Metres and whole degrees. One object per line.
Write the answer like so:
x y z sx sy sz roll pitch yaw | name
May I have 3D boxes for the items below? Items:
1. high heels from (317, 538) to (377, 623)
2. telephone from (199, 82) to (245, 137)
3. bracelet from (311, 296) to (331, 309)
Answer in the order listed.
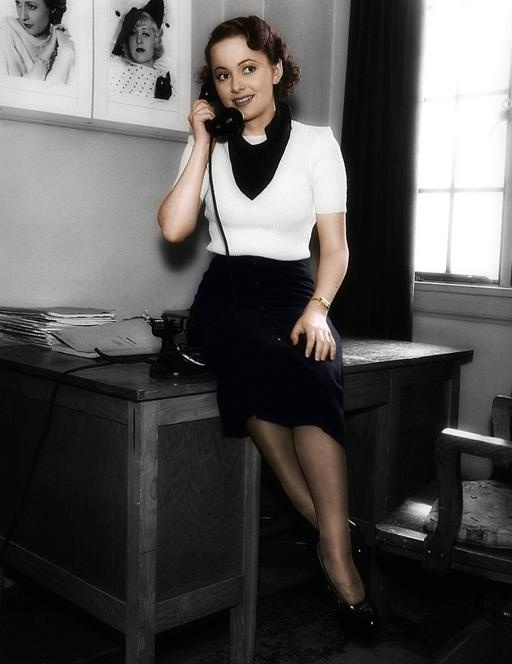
0.179 0.510 1.228 0.067 0.236 0.053 -34 -20 35 | high heels
-0.082 -0.494 1.313 0.085 0.075 0.164 -4 -2 16 | telephone
0.146 -0.066 1.284 0.031 0.013 0.028 43 14 12 | bracelet
